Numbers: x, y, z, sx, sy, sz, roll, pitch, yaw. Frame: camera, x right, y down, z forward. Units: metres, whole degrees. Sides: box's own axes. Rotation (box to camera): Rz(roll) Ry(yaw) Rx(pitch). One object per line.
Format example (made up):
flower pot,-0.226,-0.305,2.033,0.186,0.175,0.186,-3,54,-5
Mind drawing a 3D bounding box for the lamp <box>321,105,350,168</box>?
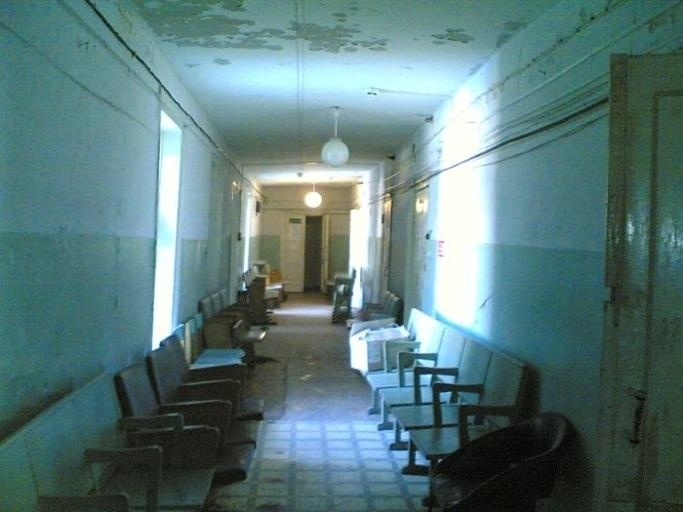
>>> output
lamp,-0.060,-1.275,6.225,0.345,0.633,0.307,0,21,-3
